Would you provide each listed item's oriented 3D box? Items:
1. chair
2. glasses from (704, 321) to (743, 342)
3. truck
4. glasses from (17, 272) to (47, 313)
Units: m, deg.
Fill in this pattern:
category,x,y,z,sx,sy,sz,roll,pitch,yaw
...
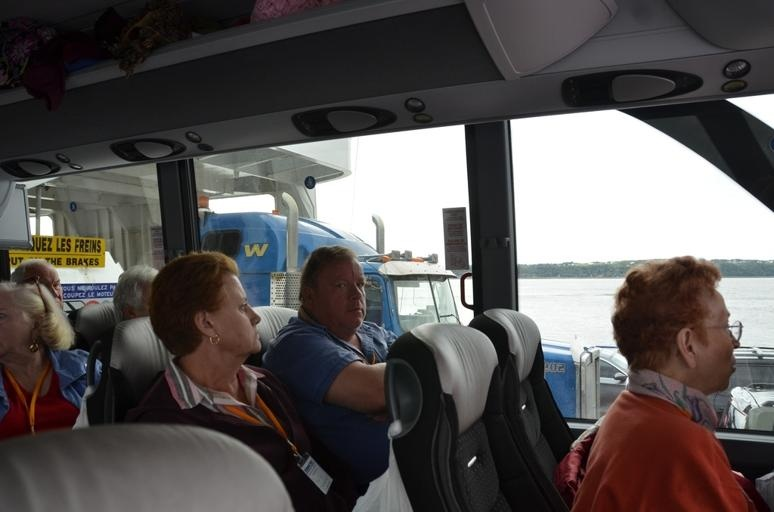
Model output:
category,x,y,z,sx,sy,sz,roll,pitch,yaw
chair,-0.185,0.684,3.115,2.558,1.258,1.008,-3,-5,16
glasses,1.307,0.282,1.996,0.126,0.041,0.122,-2,-5,21
truck,-0.549,0.569,5.292,4.608,2.138,1.377,0,-1,34
glasses,-2.263,0.237,3.269,0.126,0.162,0.072,6,24,22
